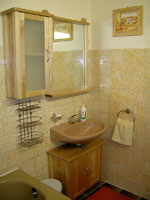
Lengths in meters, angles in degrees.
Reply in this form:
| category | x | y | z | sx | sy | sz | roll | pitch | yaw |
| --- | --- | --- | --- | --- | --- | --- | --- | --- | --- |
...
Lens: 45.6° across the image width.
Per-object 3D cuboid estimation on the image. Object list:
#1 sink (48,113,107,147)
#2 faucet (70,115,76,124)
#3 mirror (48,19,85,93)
| category | x | y | z | sx | sy | sz | roll | pitch | yaw |
| --- | --- | --- | --- | --- | --- | --- | --- | --- | --- |
| sink | 0.084 | 0.345 | 2.137 | 0.514 | 0.254 | 0.680 | 7 | 13 | 40 |
| faucet | -0.041 | 0.242 | 2.279 | 0.099 | 0.125 | 0.032 | 0 | 15 | -10 |
| mirror | -0.065 | -0.528 | 2.179 | 0.061 | 0.837 | 0.621 | 7 | 13 | 38 |
